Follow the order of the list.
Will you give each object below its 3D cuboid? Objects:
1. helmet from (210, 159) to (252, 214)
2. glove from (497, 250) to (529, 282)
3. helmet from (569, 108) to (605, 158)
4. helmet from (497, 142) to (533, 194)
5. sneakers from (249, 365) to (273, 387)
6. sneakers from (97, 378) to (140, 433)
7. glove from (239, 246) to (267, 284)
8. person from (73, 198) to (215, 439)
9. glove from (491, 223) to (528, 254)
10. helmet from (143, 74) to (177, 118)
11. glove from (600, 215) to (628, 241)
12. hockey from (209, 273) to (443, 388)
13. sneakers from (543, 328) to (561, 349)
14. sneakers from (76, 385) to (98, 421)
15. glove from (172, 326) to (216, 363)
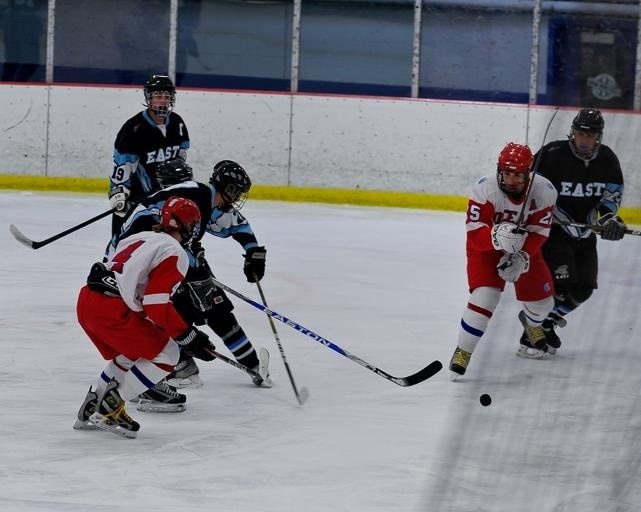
[{"bbox_3d":[-0.502,-0.400,5.468,0.205,0.237,0.102,8,7,10],"label":"helmet"},{"bbox_3d":[1.102,0.055,5.684,0.191,0.172,0.078,5,8,-8],"label":"glove"},{"bbox_3d":[1.643,-0.751,6.150,0.203,0.314,0.195,8,7,11],"label":"helmet"},{"bbox_3d":[1.110,-0.496,5.699,0.190,0.298,0.244,8,7,9],"label":"helmet"},{"bbox_3d":[-0.311,0.662,5.477,0.086,0.087,0.141,-24,-38,20],"label":"sneakers"},{"bbox_3d":[-0.994,0.747,4.890,0.229,0.261,0.123,7,7,2],"label":"sneakers"},{"bbox_3d":[-0.387,0.049,5.819,0.175,0.195,0.084,9,20,-18],"label":"glove"},{"bbox_3d":[-0.863,0.291,4.934,0.709,1.179,0.366,7,8,-4],"label":"person"},{"bbox_3d":[1.061,-0.101,5.660,0.188,0.175,0.182,7,7,14],"label":"glove"},{"bbox_3d":[-1.077,-1.069,6.665,0.196,0.273,0.184,6,7,-9],"label":"helmet"},{"bbox_3d":[1.798,-0.174,6.116,0.227,0.119,0.073,9,-23,-9],"label":"glove"},{"bbox_3d":[-0.003,0.415,5.768,1.689,0.221,0.067,22,-31,42],"label":"hockey"},{"bbox_3d":[1.415,0.507,6.154,0.080,0.158,0.068,-18,-33,-12],"label":"sneakers"},{"bbox_3d":[-1.148,0.731,4.913,0.087,0.166,0.129,5,7,-17],"label":"sneakers"},{"bbox_3d":[-0.635,0.444,5.020,0.182,0.094,0.304,17,-7,36],"label":"glove"}]
